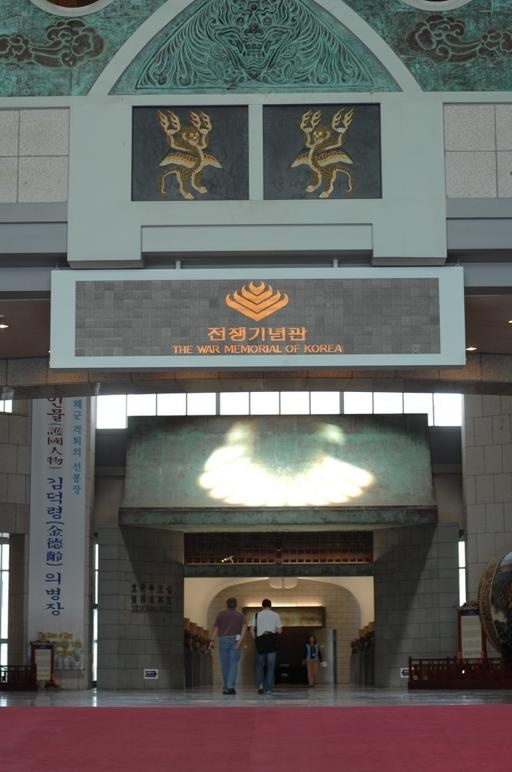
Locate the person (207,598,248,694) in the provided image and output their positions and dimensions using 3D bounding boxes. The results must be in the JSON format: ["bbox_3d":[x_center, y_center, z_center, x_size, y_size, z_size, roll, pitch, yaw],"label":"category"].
[{"bbox_3d":[-0.256,2.799,16.293,0.370,1.038,1.229,-2,-9,-2],"label":"person"}]

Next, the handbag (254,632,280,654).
[{"bbox_3d":[0.152,2.674,16.128,0.336,0.286,0.194,2,3,6],"label":"handbag"}]
